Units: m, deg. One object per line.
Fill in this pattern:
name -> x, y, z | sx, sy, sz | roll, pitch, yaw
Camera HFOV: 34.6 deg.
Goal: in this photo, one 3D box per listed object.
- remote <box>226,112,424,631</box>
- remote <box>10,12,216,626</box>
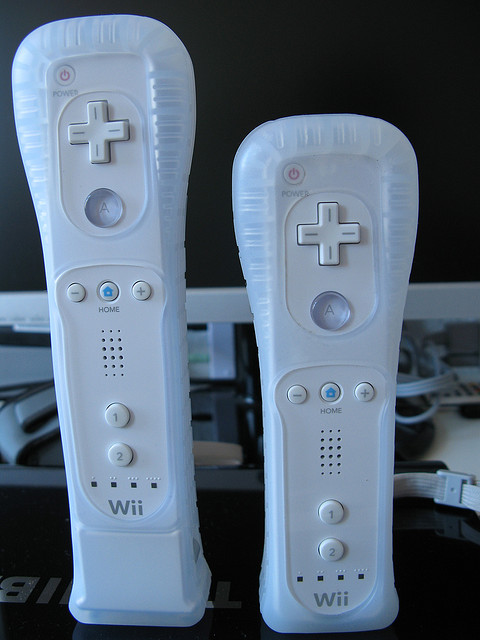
remote -> 0.047, 0.032, 0.396 | 0.093, 0.266, 0.057 | -2, 17, -1
remote -> -0.063, 0.008, 0.399 | 0.091, 0.316, 0.072 | -3, 17, -3
